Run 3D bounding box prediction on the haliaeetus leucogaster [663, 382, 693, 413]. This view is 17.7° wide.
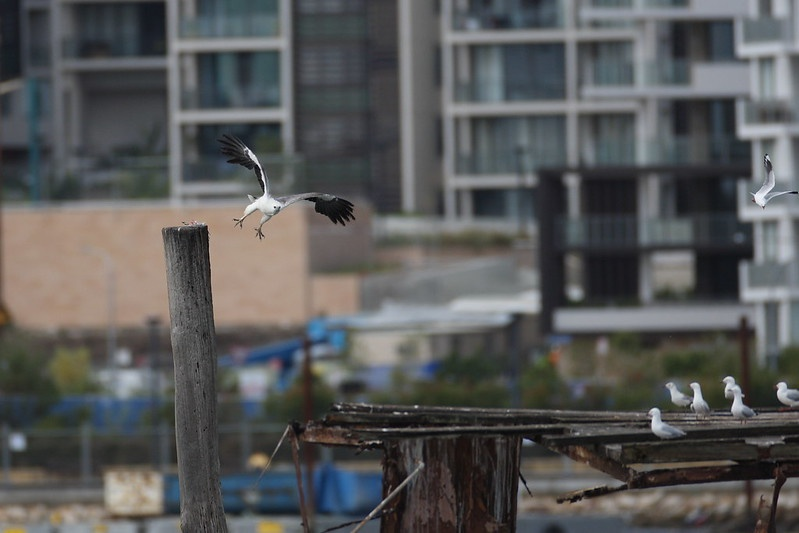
[{"bbox_3d":[4.301,1.983,39.607,0.770,0.563,0.316,4,-6,-43],"label":"haliaeetus leucogaster"}]

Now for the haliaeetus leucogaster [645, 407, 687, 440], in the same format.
[{"bbox_3d":[3.972,2.338,38.393,0.503,0.358,0.571,-4,2,6],"label":"haliaeetus leucogaster"}]

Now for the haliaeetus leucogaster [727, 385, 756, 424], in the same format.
[{"bbox_3d":[5.092,2.099,38.895,0.532,0.546,0.304,6,-5,-26],"label":"haliaeetus leucogaster"}]
